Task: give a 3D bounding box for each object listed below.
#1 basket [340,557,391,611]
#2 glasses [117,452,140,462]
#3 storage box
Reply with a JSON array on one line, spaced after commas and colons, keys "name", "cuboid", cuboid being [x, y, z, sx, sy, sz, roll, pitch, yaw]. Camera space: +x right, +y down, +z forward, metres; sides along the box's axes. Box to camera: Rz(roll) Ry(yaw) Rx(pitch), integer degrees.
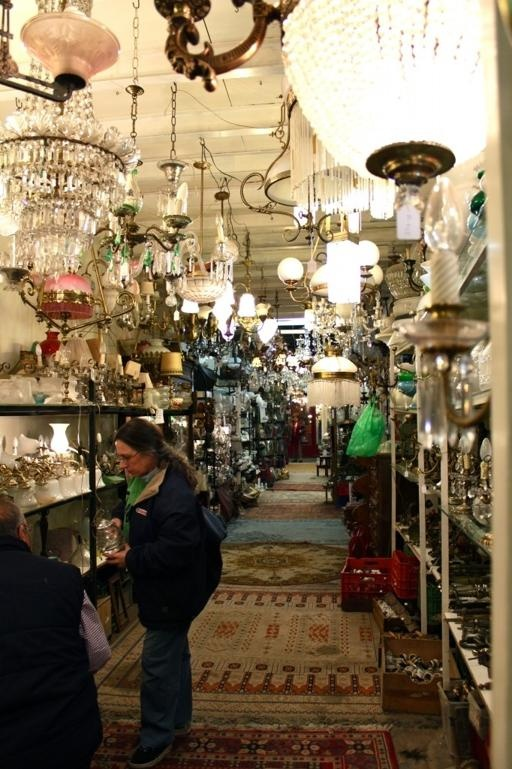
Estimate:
[{"name": "basket", "cuboid": [0.912, 1.669, 4.987, 0.381, 0.235, 0.386, -1, -21, 1]}, {"name": "glasses", "cuboid": [-0.651, 0.370, 3.013, 0.097, 0.030, 0.095, 4, 0, 0]}, {"name": "storage box", "cuboid": [0.865, 1.573, 3.371, 0.338, 0.158, 0.465, 0, -1, 7]}]
